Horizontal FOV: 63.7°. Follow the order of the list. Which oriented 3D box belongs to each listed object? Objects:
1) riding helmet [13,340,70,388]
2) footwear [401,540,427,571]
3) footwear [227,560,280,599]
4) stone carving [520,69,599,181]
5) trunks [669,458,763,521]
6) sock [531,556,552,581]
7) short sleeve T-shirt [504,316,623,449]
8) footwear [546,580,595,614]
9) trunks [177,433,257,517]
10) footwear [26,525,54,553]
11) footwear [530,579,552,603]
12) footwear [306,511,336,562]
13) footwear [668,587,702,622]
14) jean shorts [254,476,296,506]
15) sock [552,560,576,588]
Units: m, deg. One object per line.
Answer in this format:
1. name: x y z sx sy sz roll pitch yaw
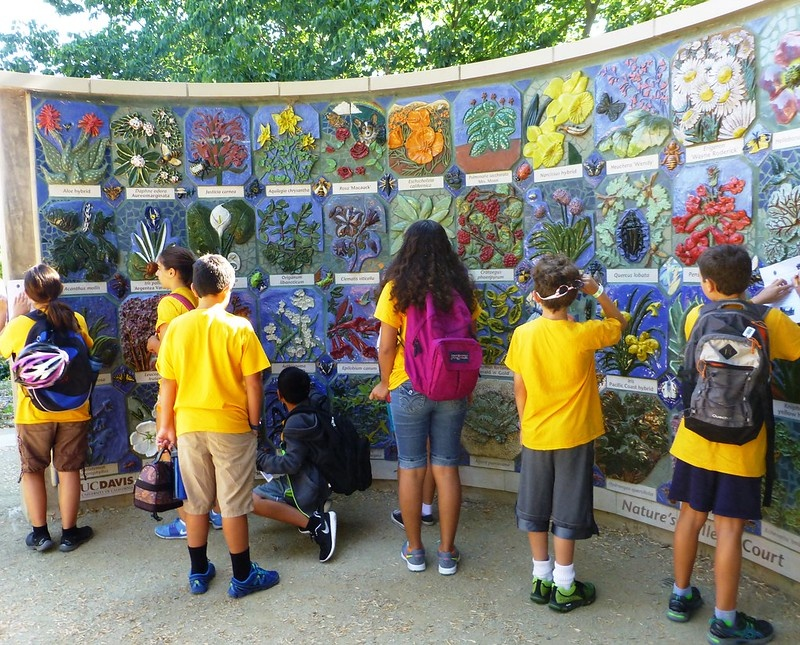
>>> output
1. riding helmet: -2.190 0.264 3.955 0.304 0.241 0.233 -19 -7 -25
2. footwear: 0.086 1.402 3.863 0.082 0.097 0.222 -1 6 -6
3. footwear: -0.842 1.465 3.732 0.315 0.171 0.123 -16 23 -37
4. stone carving: 1.079 -1.369 4.405 0.481 0.559 0.137 26 17 34
5. trunks: 1.576 0.824 3.185 0.169 0.292 0.310 -7 13 -38
6. sock: 0.772 1.347 3.535 0.121 0.123 0.090 -2 6 -4
7. short sleeve T-shirt: 0.952 0.332 3.585 0.809 0.839 0.451 -1 6 16
8. footwear: 0.931 1.456 3.515 0.300 0.153 0.119 -15 20 -29
9. trunks: -1.003 0.825 3.543 0.420 0.477 0.212 -5 13 -14
10. footwear: -2.334 1.399 4.146 0.107 0.169 0.237 -1 7 -41
11. footwear: 0.802 1.469 3.546 0.065 0.091 0.181 7 9 43
12. footwear: -0.478 1.298 3.967 0.219 0.335 0.125 4 -11 -12
13. footwear: 1.484 1.481 3.345 0.097 0.115 0.248 3 19 35
14. jean shorts: -0.803 1.088 4.149 0.199 0.099 0.219 25 13 -7
15. sock: 0.870 1.344 3.429 0.102 0.131 0.127 8 -12 -42
